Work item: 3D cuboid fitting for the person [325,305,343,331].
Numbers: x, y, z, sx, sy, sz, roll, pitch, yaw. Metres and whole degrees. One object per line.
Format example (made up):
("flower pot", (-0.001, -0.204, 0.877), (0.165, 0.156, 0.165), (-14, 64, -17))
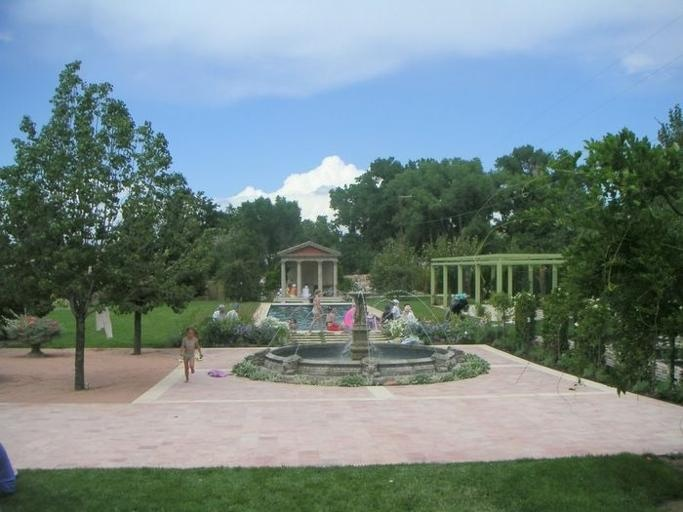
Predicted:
("person", (-0.304, 3.361, 31.790), (0.984, 1.521, 1.457), (-3, 3, -2))

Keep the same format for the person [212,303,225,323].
("person", (-5.837, 2.614, 29.303), (0.542, 0.740, 1.833), (2, -7, -12))
